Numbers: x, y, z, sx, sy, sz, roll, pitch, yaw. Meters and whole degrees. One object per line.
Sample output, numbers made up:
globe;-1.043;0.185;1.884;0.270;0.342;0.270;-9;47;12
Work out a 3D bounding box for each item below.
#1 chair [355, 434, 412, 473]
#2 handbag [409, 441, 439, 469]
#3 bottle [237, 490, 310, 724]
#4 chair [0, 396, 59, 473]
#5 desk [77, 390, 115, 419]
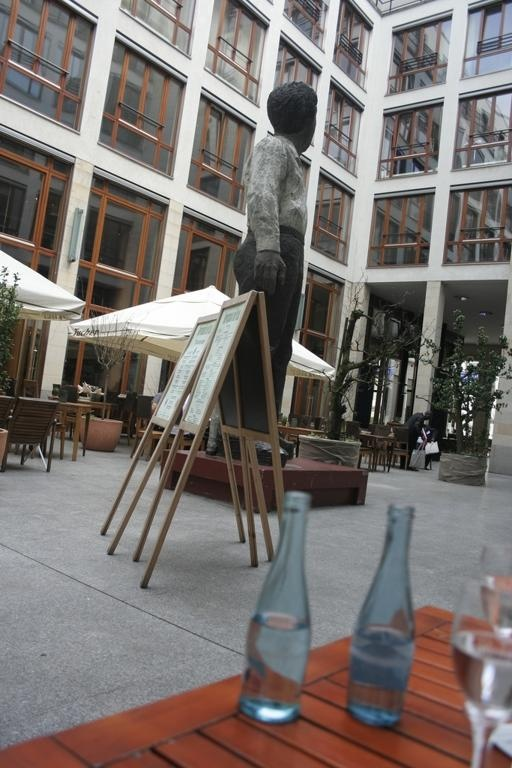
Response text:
chair;3.450;1.857;13.666;0.935;1.169;1.608;1;0;31
handbag;5.342;2.252;16.175;0.401;1.013;1.060;24;-2;30
bottle;0.029;0.246;0.547;0.071;0.259;0.102;7;0;3
chair;-2.803;0.603;6.291;0.534;0.927;1.446;8;0;-21
desk;-3.418;0.428;10.668;0.610;0.431;0.818;3;3;38
